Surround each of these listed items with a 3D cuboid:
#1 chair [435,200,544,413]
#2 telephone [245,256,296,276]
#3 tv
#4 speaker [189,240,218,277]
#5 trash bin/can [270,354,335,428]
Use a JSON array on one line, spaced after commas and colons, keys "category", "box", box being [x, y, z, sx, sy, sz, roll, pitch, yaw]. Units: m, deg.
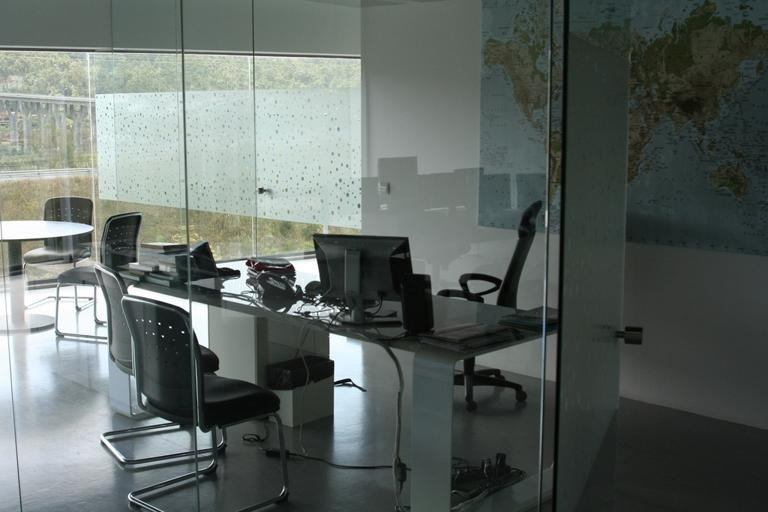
[{"category": "chair", "box": [0.558, 0.249, 3.850, 0.768, 1.184, 0.725, 2, 1, -19]}, {"category": "telephone", "box": [-0.677, 0.058, 3.667, 0.202, 0.059, 0.114, 0, 8, -36]}, {"category": "tv", "box": [-0.128, 0.129, 3.556, 0.565, 0.464, 0.271, 2, 4, 19]}, {"category": "speaker", "box": [-0.983, 0.006, 3.402, 0.109, 0.195, 0.112, -21, 34, -34]}, {"category": "trash bin/can", "box": [-0.494, 0.812, 3.780, 0.243, 0.341, 0.364, -13, -8, 38]}]
